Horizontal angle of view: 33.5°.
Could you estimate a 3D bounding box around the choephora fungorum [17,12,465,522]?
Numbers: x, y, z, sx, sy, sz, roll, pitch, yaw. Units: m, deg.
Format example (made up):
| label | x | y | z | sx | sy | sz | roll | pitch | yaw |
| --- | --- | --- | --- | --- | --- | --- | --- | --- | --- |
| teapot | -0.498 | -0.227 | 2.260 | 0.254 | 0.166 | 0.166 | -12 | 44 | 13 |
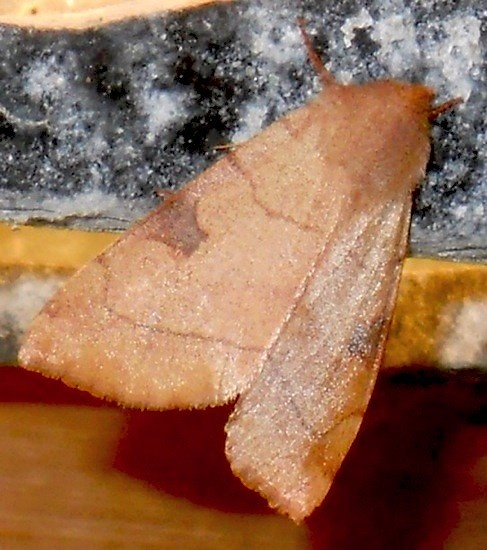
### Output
| label | x | y | z | sx | sy | sz | roll | pitch | yaw |
| --- | --- | --- | --- | --- | --- | --- | --- | --- | --- |
| choephora fungorum | 0.077 | -0.016 | 1.171 | 0.486 | 0.074 | 0.693 | 34 | 82 | 6 |
